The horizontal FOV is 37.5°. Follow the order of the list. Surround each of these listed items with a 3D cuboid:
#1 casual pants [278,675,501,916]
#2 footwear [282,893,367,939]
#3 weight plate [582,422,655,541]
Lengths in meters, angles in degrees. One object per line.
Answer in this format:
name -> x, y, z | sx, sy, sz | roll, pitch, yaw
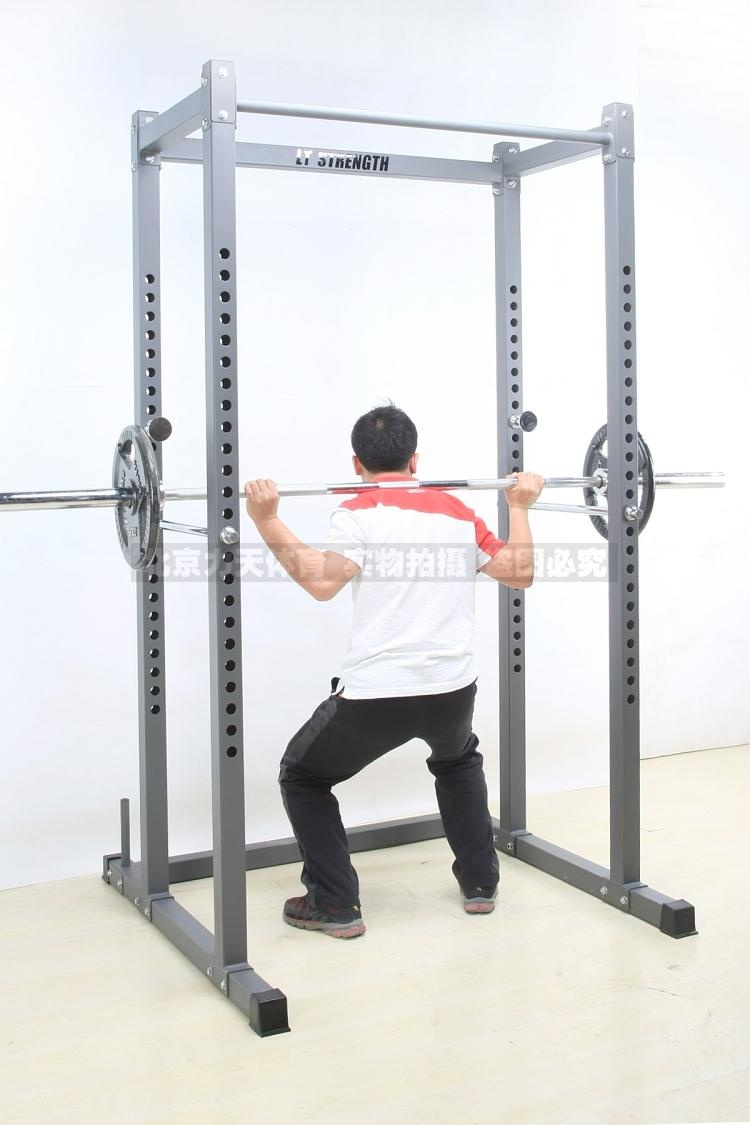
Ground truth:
casual pants -> 0.021, 0.658, 3.053 | 0.557, 0.659, 0.411 | -5, 9, -23
footwear -> -0.135, 0.915, 2.879 | 0.223, 0.112, 0.084 | 13, 10, 36
weight plate -> 0.655, -0.224, 3.040 | 0.081, 0.308, 0.302 | -6, -10, -29
